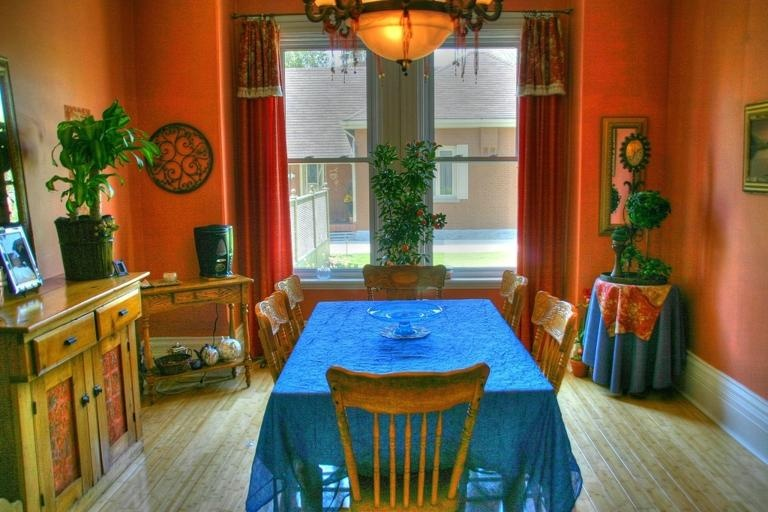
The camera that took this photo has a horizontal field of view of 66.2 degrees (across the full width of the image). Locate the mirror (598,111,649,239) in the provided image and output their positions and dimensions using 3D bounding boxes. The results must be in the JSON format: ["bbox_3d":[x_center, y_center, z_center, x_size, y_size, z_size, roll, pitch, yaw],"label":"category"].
[{"bbox_3d":[2.189,-0.734,5.397,0.413,1.067,0.210,0,12,14],"label":"mirror"}]

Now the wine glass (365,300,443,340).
[{"bbox_3d":[0.167,0.417,3.937,0.303,0.115,0.297,-5,9,-23],"label":"wine glass"}]

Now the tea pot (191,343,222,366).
[{"bbox_3d":[-1.567,0.860,5.281,0.190,0.225,0.205,1,4,0],"label":"tea pot"}]

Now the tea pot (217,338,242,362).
[{"bbox_3d":[-1.373,0.827,5.327,0.200,0.190,0.198,1,4,0],"label":"tea pot"}]

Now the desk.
[{"bbox_3d":[2.134,0.676,4.994,0.840,1.005,0.414,1,12,19],"label":"desk"}]

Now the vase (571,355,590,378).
[{"bbox_3d":[1.765,0.997,5.354,0.187,0.142,0.186,0,7,9],"label":"vase"}]

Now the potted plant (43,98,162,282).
[{"bbox_3d":[-2.014,-0.448,4.284,0.744,1.199,0.704,-3,-1,-42],"label":"potted plant"}]

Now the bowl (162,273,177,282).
[{"bbox_3d":[-1.832,0.180,5.058,0.098,0.063,0.126,-5,11,-14],"label":"bowl"}]

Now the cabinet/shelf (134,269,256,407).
[{"bbox_3d":[-1.650,0.705,5.220,1.024,0.999,0.500,-6,6,-22],"label":"cabinet/shelf"}]

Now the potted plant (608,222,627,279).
[{"bbox_3d":[2.037,-0.048,5.081,0.122,0.402,0.279,3,13,27],"label":"potted plant"}]

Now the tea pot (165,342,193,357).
[{"bbox_3d":[-1.831,0.843,5.310,0.189,0.132,0.142,5,-4,-31],"label":"tea pot"}]
